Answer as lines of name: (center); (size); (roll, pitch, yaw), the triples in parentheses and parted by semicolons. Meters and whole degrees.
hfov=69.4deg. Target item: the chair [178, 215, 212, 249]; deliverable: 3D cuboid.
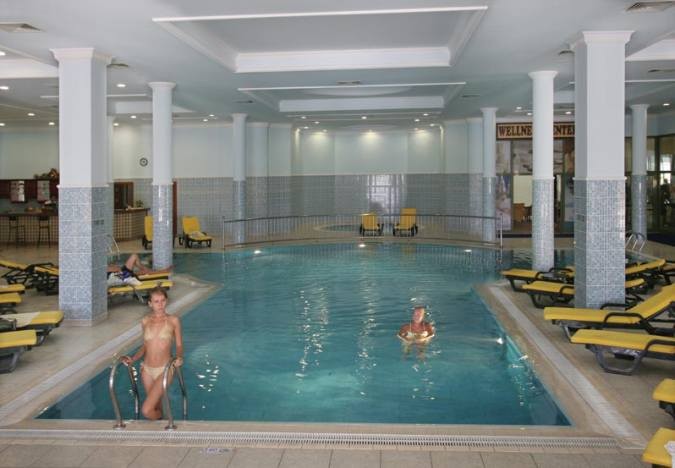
chair: (-5.394, -0.058, 18.531); (0.839, 0.890, 1.412); (-3, 15, -37)

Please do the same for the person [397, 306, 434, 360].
person: (1.380, 1.689, 8.407); (0.739, 1.074, 0.678); (0, -5, 5)

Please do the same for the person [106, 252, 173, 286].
person: (-4.684, 0.823, 11.157); (1.533, 0.508, 1.077); (-5, 0, -22)
